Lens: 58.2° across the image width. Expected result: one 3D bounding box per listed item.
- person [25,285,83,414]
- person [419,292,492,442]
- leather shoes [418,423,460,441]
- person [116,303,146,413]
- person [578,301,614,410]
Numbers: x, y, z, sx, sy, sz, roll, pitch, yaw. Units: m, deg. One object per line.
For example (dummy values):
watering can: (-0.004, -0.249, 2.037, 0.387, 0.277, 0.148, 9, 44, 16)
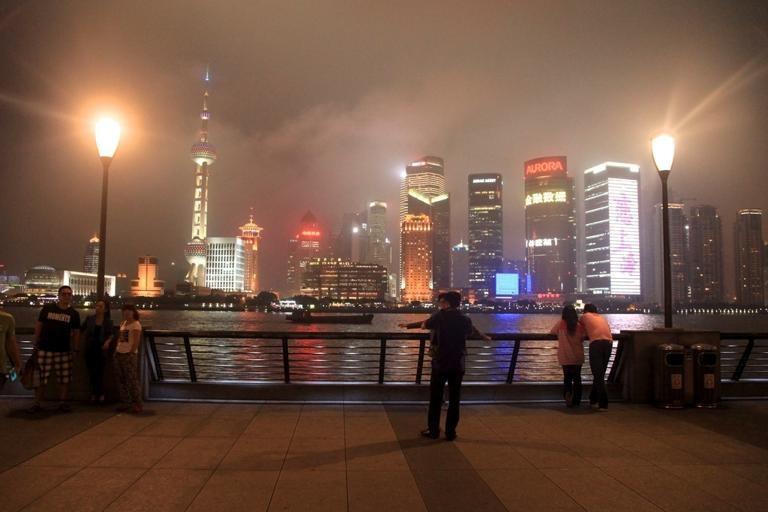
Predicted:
person: (-6.497, 1.802, 13.735, 0.827, 2.461, 0.984, 3, -5, -25)
person: (1.227, 2.004, 12.938, 0.992, 2.672, 0.990, 0, -5, 8)
leather shoes: (0.984, 3.203, 12.475, 0.699, 0.280, 0.230, 3, -11, 5)
person: (-5.027, 2.031, 13.710, 0.588, 2.088, 0.302, -1, -5, 15)
person: (4.535, 2.100, 14.754, 0.647, 2.178, 1.033, -1, -5, 17)
